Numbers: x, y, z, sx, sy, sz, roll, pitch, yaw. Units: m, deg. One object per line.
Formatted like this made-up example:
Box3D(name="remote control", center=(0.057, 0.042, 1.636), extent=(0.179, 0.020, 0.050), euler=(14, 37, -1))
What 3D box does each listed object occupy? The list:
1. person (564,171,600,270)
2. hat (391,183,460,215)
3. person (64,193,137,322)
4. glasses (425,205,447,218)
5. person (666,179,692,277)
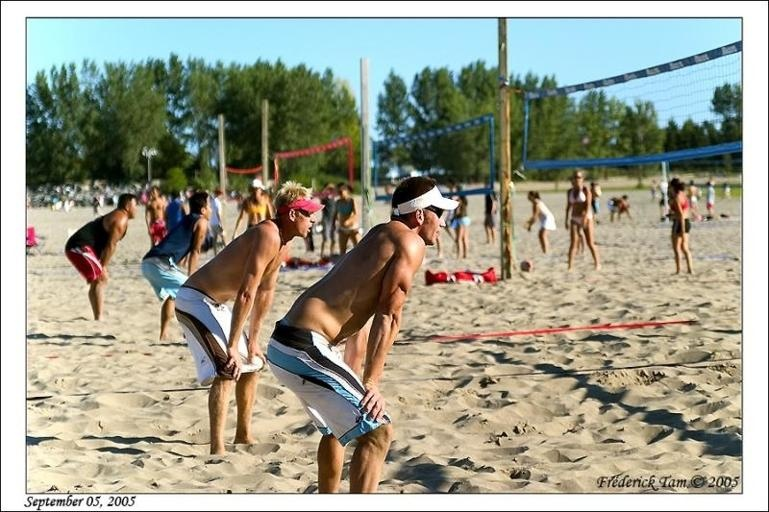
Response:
Box3D(name="person", center=(3.234, -0.580, 15.576), extent=(0.513, 1.652, 0.483), euler=(-2, 0, 21))
Box3D(name="hat", center=(0.359, -0.472, 8.314), extent=(0.415, 0.168, 0.282), euler=(-10, 6, -5))
Box3D(name="person", center=(-3.694, 0.027, 12.526), extent=(0.894, 1.717, 0.835), euler=(-4, 8, -17))
Box3D(name="glasses", center=(0.449, -0.403, 8.361), extent=(0.120, 0.058, 0.098), euler=(16, 2, 19))
Box3D(name="person", center=(4.616, -0.530, 14.792), extent=(0.358, 1.443, 1.133), euler=(0, 8, 17))
